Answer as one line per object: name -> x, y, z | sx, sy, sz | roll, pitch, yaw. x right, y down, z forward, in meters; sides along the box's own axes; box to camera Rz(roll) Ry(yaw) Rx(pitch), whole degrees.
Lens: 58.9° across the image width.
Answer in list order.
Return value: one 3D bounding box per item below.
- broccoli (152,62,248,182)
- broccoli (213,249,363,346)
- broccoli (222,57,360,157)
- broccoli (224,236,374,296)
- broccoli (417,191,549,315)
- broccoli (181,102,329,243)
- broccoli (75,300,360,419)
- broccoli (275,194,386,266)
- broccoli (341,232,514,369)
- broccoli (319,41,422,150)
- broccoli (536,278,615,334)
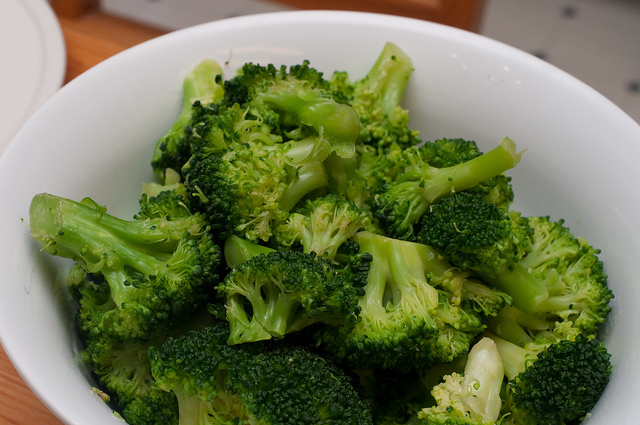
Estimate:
broccoli -> -0.418, -0.307, 1.964 | 0.249, 0.144, 0.438 | 20, 63, 2
broccoli -> -0.116, 0.250, 1.690 | 0.382, 0.319, 0.277 | 16, 74, -16
broccoli -> -0.091, -0.299, 1.825 | 0.380, 0.157, 0.303 | 29, 49, -2
broccoli -> -0.030, 0.115, 1.816 | 0.466, 0.239, 0.163 | -4, 97, 8
broccoli -> 0.561, 0.101, 1.815 | 0.402, 0.283, 0.219 | 36, 53, -2
broccoli -> -0.188, -0.143, 1.858 | 0.381, 0.224, 0.416 | -18, 90, 3
broccoli -> -0.338, 0.464, 1.655 | 0.514, 0.429, 0.204 | 7, 74, 20
broccoli -> 0.015, 0.064, 1.700 | 0.206, 0.220, 0.165 | -3, 84, 9
broccoli -> 0.299, 0.265, 1.710 | 0.386, 0.173, 0.427 | -20, 53, -22
broccoli -> 0.128, -0.425, 2.086 | 0.174, 0.325, 0.447 | 46, 115, 23
broccoli -> 0.822, 0.291, 1.846 | 0.202, 0.092, 0.171 | -12, 104, 9
